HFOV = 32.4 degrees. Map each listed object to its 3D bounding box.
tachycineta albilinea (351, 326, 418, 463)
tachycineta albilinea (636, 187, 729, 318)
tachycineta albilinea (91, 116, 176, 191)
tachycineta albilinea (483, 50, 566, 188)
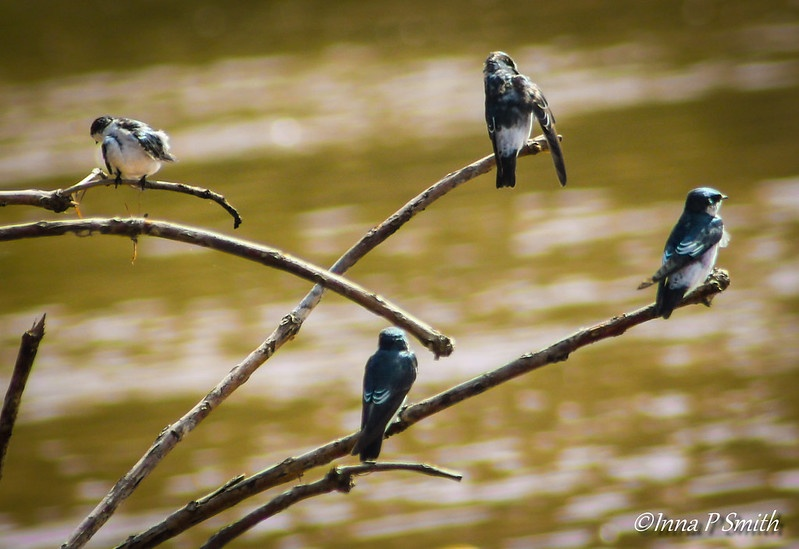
[{"bbox_3d":[-0.119,0.742,8.645,0.278,0.922,0.555,-24,-23,35],"label":"tachycineta albilinea"},{"bbox_3d":[1.786,-0.165,8.665,0.711,0.896,0.209,0,-21,-26],"label":"tachycineta albilinea"},{"bbox_3d":[-1.712,-0.805,8.823,0.647,0.423,0.362,-4,-16,-35],"label":"tachycineta albilinea"},{"bbox_3d":[0.735,-1.045,9.082,0.611,1.073,0.447,-6,-50,14],"label":"tachycineta albilinea"}]
